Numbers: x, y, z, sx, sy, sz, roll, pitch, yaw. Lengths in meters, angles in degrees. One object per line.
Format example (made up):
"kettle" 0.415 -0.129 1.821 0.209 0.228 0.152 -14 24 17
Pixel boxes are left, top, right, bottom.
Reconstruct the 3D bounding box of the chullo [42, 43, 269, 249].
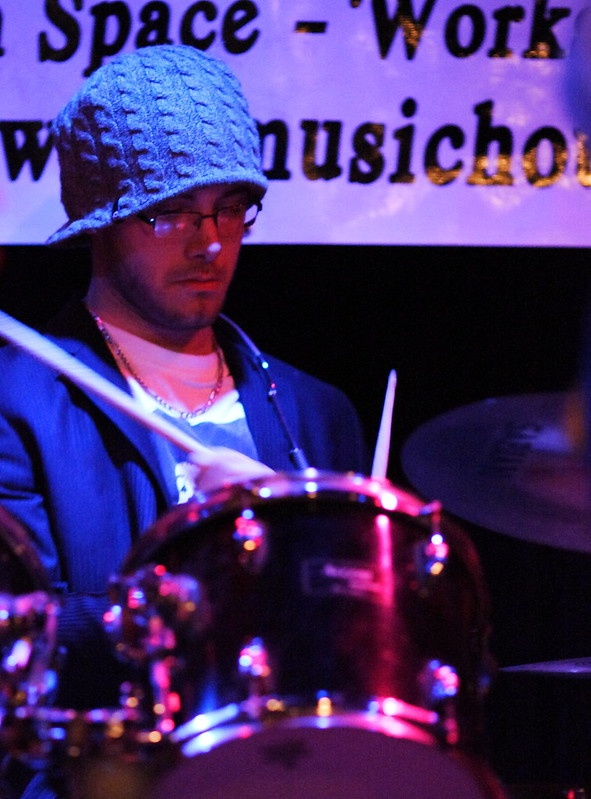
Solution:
"chullo" -0.220 -0.349 1.483 0.298 0.203 0.262 -6 0 38
